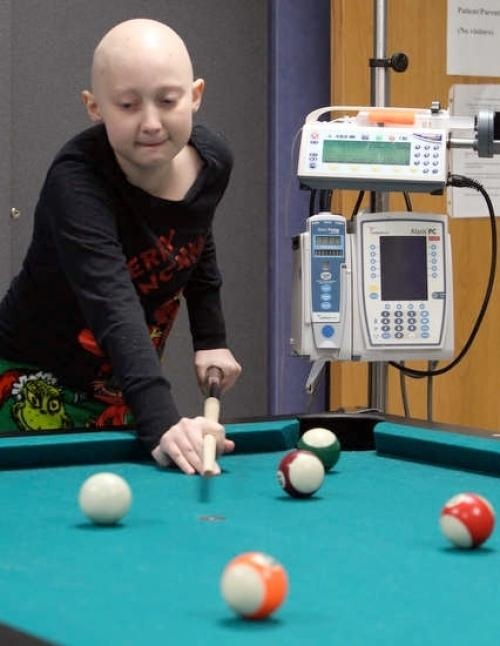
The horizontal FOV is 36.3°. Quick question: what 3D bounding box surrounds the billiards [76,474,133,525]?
[{"bbox_3d":[-0.199,0.249,1.068,0.095,0.067,0.069,-2,7,-29],"label":"billiards"}]
